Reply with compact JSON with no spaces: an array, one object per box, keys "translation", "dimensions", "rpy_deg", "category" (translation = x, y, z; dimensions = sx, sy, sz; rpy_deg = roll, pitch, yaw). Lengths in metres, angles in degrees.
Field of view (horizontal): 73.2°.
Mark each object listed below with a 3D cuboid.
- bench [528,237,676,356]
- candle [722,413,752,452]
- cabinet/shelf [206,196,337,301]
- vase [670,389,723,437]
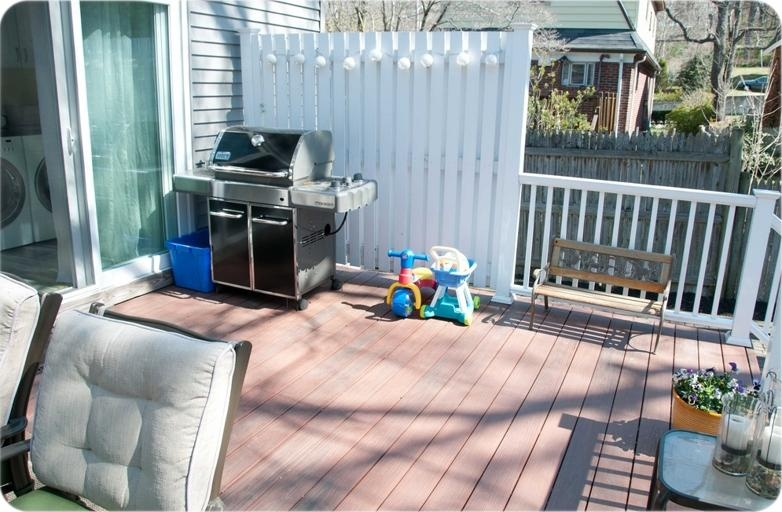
[{"translation":[2.021,0.196,5.036],"dimensions":[1.141,0.612,0.732],"rpy_deg":[10,13,27],"category":"bench"},{"translation":[1.948,0.995,3.025],"dimensions":[0.172,0.202,0.175],"rpy_deg":[1,4,9],"category":"candle"},{"translation":[-1.216,-0.176,5.818],"dimensions":[1.242,1.113,1.050],"rpy_deg":[7,13,22],"category":"cabinet/shelf"},{"translation":[2.077,1.090,3.587],"dimensions":[0.287,0.184,0.292],"rpy_deg":[7,-1,-1],"category":"vase"}]
